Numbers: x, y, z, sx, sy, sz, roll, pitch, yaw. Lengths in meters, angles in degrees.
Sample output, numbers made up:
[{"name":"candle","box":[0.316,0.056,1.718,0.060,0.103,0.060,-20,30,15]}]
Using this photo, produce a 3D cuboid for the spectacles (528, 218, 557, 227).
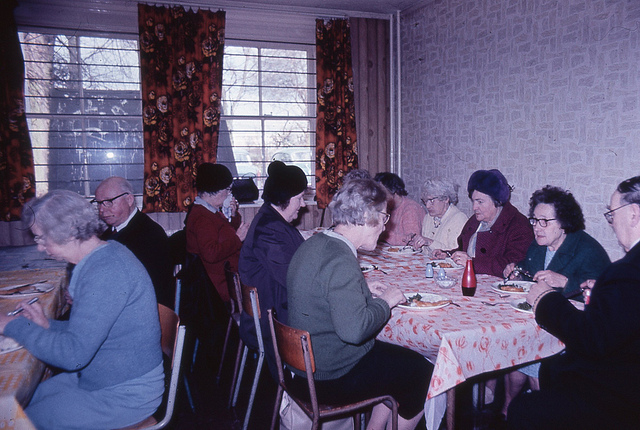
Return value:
[{"name":"spectacles","box":[1.524,0.047,3.268,0.172,0.060,0.056,7,10,32]}]

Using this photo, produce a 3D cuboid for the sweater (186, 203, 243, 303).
[{"name":"sweater","box":[-0.909,0.340,4.008,0.485,0.880,0.706,-11,14,-16]}]

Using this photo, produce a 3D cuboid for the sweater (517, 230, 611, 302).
[{"name":"sweater","box":[1.643,0.424,3.350,0.440,0.584,0.580,6,-3,-37]}]

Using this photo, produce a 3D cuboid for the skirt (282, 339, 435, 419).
[{"name":"skirt","box":[0.329,0.949,2.782,0.515,0.169,0.537,-2,2,-21]}]

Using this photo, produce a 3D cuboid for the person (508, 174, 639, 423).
[{"name":"person","box":[1.437,0.460,2.639,0.549,1.351,0.567,5,9,24]}]

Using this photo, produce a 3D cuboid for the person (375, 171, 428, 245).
[{"name":"person","box":[0.876,-0.033,4.931,0.592,0.883,0.890,-3,3,3]}]

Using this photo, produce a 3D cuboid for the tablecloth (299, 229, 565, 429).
[{"name":"tablecloth","box":[0.912,0.668,2.853,0.828,0.346,1.362,-4,14,-21]}]

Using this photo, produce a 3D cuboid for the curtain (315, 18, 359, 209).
[{"name":"curtain","box":[0.200,-1.269,6.016,0.571,2.357,0.243,2,8,0]}]

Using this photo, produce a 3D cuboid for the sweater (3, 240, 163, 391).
[{"name":"sweater","box":[-1.231,0.529,2.777,0.812,0.838,0.616,4,3,-15]}]

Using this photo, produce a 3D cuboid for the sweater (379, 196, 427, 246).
[{"name":"sweater","box":[0.800,0.048,4.714,0.378,0.519,0.652,10,1,-15]}]

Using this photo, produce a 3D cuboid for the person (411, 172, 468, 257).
[{"name":"person","box":[1.137,0.008,4.478,0.500,0.871,0.630,-3,13,-10]}]

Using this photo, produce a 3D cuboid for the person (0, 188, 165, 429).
[{"name":"person","box":[-1.272,0.519,2.592,0.781,1.276,0.376,-1,9,-18]}]

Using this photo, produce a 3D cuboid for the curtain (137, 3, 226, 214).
[{"name":"curtain","box":[-1.604,-1.214,5.568,0.946,2.364,0.396,-2,9,-22]}]

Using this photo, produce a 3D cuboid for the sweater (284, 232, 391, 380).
[{"name":"sweater","box":[0.063,0.492,2.982,0.618,0.792,0.956,-8,10,-20]}]
